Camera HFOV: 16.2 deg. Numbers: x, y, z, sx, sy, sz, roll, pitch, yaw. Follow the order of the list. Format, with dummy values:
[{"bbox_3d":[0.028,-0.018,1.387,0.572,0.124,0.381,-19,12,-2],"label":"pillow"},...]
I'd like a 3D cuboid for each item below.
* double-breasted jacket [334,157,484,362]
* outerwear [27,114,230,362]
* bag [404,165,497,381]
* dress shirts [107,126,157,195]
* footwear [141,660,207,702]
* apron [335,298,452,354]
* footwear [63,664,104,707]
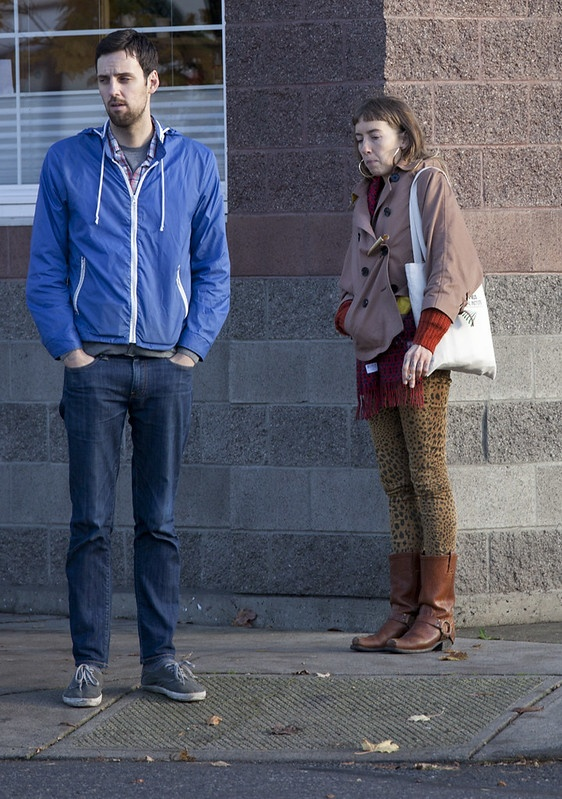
[{"bbox_3d":[0.465,-0.482,6.889,0.316,0.739,0.617,4,-8,-30],"label":"double-breasted jacket"},{"bbox_3d":[-0.487,-0.493,6.398,0.853,1.081,0.475,0,1,-12],"label":"outerwear"},{"bbox_3d":[0.585,-0.409,6.771,0.320,0.729,0.279,2,13,5],"label":"bag"},{"bbox_3d":[-0.475,-0.771,6.353,0.126,0.254,0.121,0,-14,-12],"label":"dress shirts"},{"bbox_3d":[-0.355,0.915,6.408,0.238,0.118,0.093,4,4,29],"label":"footwear"},{"bbox_3d":[0.388,-0.254,6.806,0.224,0.224,0.419,2,9,-3],"label":"apron"},{"bbox_3d":[-0.623,0.918,6.296,0.153,0.116,0.140,-5,15,-24],"label":"footwear"}]
